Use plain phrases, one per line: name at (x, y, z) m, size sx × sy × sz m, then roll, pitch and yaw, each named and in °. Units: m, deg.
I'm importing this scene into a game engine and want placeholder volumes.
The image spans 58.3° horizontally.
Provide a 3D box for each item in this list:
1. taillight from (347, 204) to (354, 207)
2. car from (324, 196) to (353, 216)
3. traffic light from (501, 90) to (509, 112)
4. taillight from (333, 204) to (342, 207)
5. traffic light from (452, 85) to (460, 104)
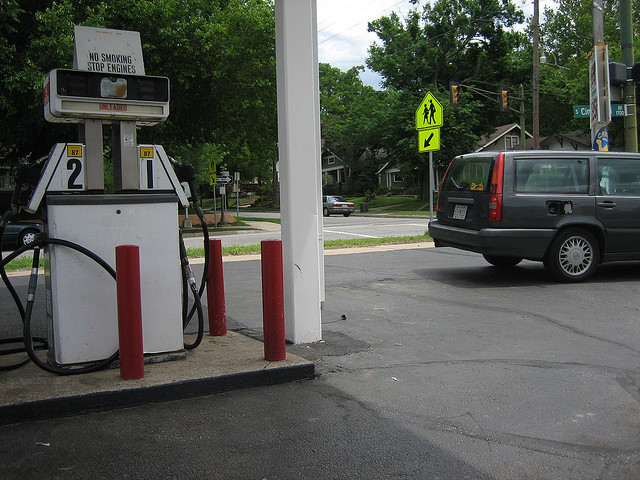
taillight at (2.171, -2.293, 38.947) m, size 0.181 × 0.205 × 0.692 m, roll 4°, pitch 9°, yaw 36°
car at (1.260, -2.287, 39.097) m, size 1.825 × 1.334 × 1.516 m, roll -1°, pitch 7°, yaw -1°
traffic light at (9.195, -6.939, 28.457) m, size 0.343 × 0.996 × 0.756 m, roll 0°, pitch 7°, yaw 12°
taillight at (1.258, -2.269, 38.451) m, size 0.566 × 0.183 × 0.055 m, roll -3°, pitch 7°, yaw -14°
traffic light at (6.318, -6.714, 26.584) m, size 0.217 × 0.795 × 0.940 m, roll 1°, pitch 7°, yaw 17°
